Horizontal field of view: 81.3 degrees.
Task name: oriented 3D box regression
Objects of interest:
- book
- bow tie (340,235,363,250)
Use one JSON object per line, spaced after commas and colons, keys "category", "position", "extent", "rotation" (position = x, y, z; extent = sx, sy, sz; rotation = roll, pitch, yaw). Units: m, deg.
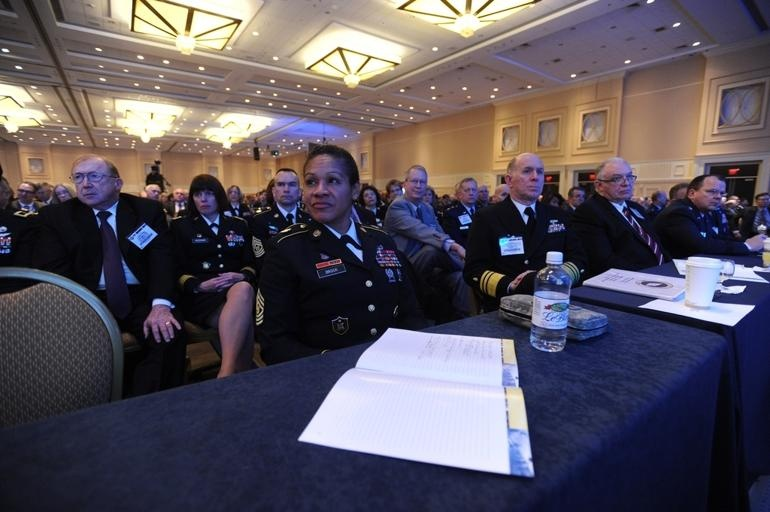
{"category": "book", "position": [0.116, 0.415, 1.263], "extent": [0.326, 0.043, 0.410], "rotation": [5, 25, 12]}
{"category": "bow tie", "position": [-0.156, -0.052, 2.055], "extent": [0.086, 0.021, 0.059], "rotation": [35, 40, -14]}
